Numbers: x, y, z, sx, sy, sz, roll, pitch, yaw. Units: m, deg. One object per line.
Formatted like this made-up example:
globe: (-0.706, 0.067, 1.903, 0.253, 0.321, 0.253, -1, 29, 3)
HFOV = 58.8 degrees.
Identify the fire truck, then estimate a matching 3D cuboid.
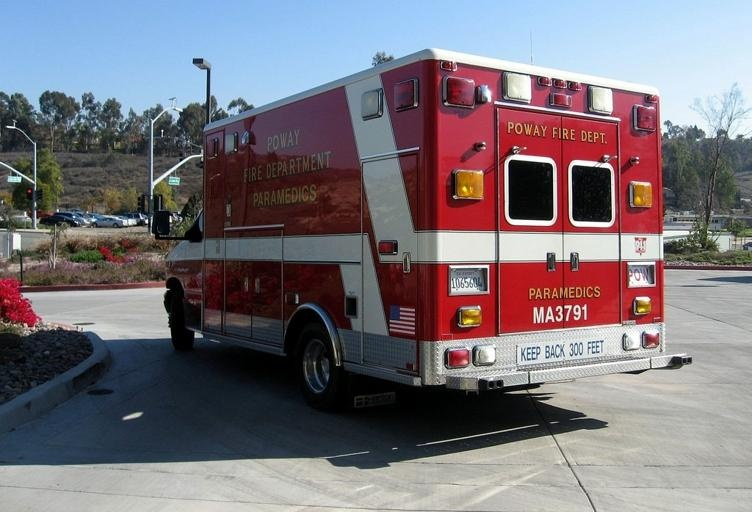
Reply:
fire truck: (0.587, -0.163, 8.763, 6.452, 4.261, 2.470, 0, 0, 27)

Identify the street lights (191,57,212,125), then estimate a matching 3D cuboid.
street lights: (-6.844, -6.574, 27.187, 0.360, 2.741, 0.806, -7, -1, 21)
